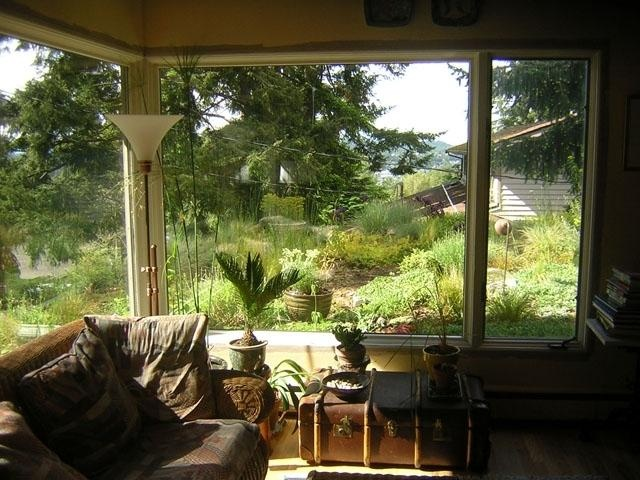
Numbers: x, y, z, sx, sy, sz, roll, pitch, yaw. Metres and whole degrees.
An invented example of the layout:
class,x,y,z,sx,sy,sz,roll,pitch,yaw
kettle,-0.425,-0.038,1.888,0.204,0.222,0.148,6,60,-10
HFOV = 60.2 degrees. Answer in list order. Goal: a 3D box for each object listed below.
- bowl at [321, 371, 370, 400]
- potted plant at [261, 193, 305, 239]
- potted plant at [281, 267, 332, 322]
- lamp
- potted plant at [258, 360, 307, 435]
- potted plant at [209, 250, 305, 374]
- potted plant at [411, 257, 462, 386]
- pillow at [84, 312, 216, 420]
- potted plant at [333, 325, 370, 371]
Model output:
class,x,y,z,sx,sy,sz,roll,pitch,yaw
bowl,0.165,0.934,3.523,0.297,0.137,0.207,-4,6,4
potted plant,-0.266,-0.188,4.097,0.300,0.222,0.313,-1,12,4
potted plant,-0.078,0.422,4.155,0.389,0.275,0.352,2,-2,-15
lamp,-1.136,-0.141,3.790,0.436,1.416,0.631,-6,6,-18
potted plant,-0.293,1.017,3.835,0.285,0.286,0.279,20,-3,-32
potted plant,-0.378,0.541,3.722,0.436,0.687,0.626,5,0,-42
potted plant,0.804,0.541,3.732,0.231,0.788,0.687,-3,6,11
pillow,-0.883,0.688,3.189,0.595,0.602,0.199,0,-8,-6
potted plant,0.205,0.727,3.736,0.222,0.279,0.145,-1,7,25
